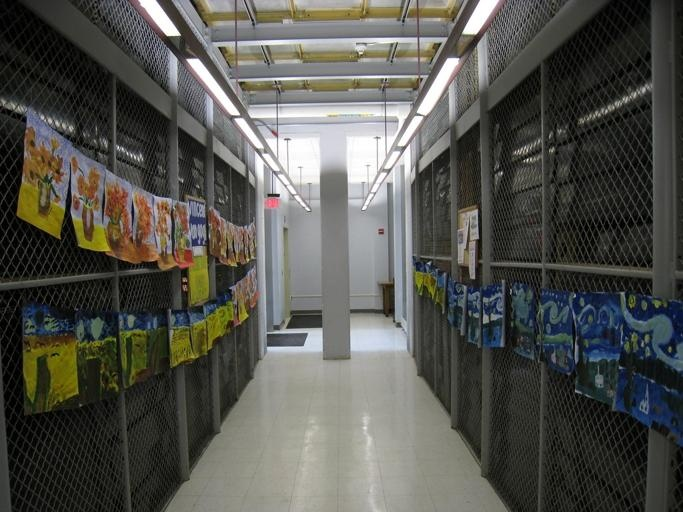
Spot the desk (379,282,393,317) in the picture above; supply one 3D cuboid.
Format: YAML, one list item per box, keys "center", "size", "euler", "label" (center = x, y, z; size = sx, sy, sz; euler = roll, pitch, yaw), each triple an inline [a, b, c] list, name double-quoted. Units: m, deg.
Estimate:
- center: [1.150, 1.147, 12.826]
  size: [0.290, 0.892, 0.944]
  euler: [-9, 2, 10]
  label: "desk"

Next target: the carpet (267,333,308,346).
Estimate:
- center: [-1.060, 1.624, 9.613]
  size: [0.747, 0.046, 1.395]
  euler: [-2, 4, -6]
  label: "carpet"

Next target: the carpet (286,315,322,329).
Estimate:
- center: [-0.871, 1.567, 11.920]
  size: [0.777, 0.096, 2.228]
  euler: [-2, 3, -2]
  label: "carpet"
